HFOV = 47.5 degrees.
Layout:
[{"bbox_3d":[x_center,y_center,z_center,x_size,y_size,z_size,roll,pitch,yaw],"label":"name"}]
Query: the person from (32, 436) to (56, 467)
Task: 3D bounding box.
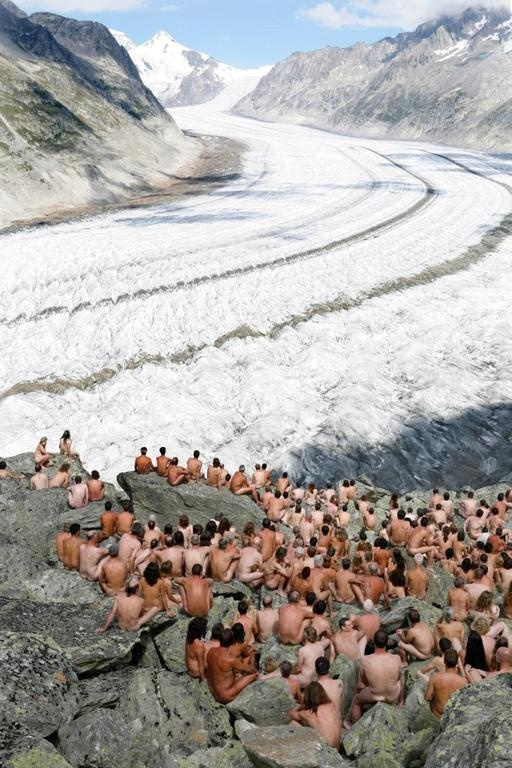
[{"bbox_3d":[-5.983,1.904,16.340,0.634,1.026,0.505,-12,32,-29],"label":"person"}]
